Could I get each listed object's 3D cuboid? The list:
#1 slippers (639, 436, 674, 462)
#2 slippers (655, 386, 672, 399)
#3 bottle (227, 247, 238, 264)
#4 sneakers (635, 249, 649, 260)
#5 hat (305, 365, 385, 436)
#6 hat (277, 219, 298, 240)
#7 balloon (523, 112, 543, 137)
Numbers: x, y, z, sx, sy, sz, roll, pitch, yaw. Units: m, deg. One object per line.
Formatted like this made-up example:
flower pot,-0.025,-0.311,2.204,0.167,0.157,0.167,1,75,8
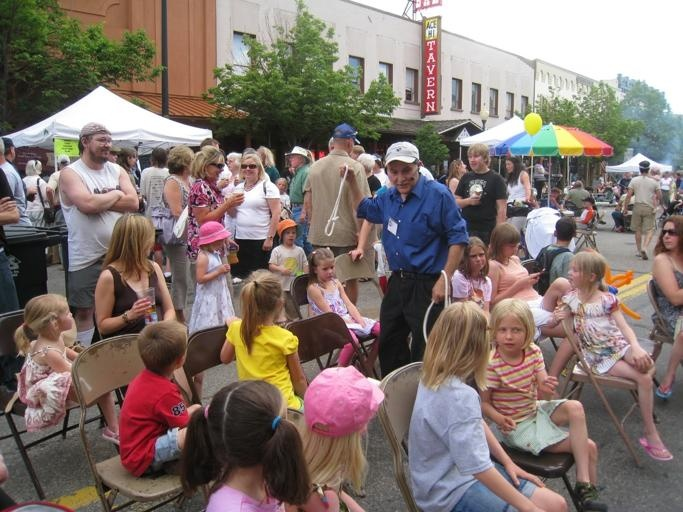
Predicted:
slippers,2.490,1.540,4.752,0.127,0.059,0.227,-26,32,-25
slippers,2.987,1.274,5.600,0.090,0.163,0.152,-3,-1,27
bottle,-1.305,0.000,7.229,0.180,0.222,0.195,1,-3,1
sneakers,6.319,0.007,12.659,0.134,0.158,0.355,-11,-15,32
hat,0.012,0.805,3.578,0.439,0.230,0.596,0,21,21
hat,-0.712,-0.339,7.331,0.185,0.248,0.136,-14,63,-49
balloon,4.290,-2.998,13.631,0.490,0.669,0.520,0,16,9
